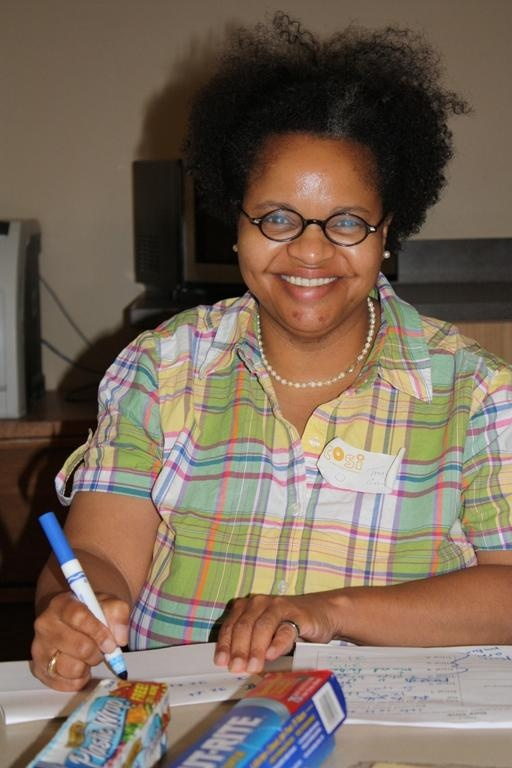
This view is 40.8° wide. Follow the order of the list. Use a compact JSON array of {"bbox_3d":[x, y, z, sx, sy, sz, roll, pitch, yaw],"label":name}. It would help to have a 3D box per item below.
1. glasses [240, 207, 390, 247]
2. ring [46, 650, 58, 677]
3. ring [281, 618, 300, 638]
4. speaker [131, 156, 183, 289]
[{"bbox_3d":[0.075,-0.215,0.952,0.178,0.057,0.058,-1,7,5],"label":"glasses"},{"bbox_3d":[-0.202,0.277,0.680,0.008,0.019,0.015,2,15,3],"label":"ring"},{"bbox_3d":[0.038,0.254,0.724,0.004,0.019,0.018,-35,53,-12],"label":"ring"},{"bbox_3d":[-0.341,-0.559,2.395,0.188,0.530,0.329,-1,21,0],"label":"speaker"}]
